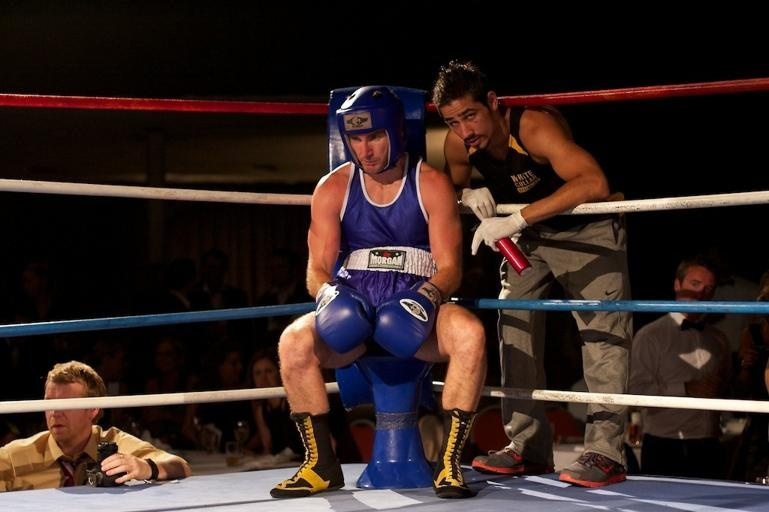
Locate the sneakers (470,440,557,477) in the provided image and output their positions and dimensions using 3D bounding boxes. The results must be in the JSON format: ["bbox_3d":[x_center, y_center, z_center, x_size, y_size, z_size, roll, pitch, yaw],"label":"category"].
[{"bbox_3d":[0.681,1.072,4.767,0.431,0.172,0.150,6,-11,-13],"label":"sneakers"}]

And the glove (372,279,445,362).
[{"bbox_3d":[0.113,0.247,4.239,0.407,0.259,0.158,-47,-2,-36],"label":"glove"}]

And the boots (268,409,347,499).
[{"bbox_3d":[-0.458,0.939,4.234,0.530,0.457,0.237,-1,-6,-10],"label":"boots"}]

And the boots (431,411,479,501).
[{"bbox_3d":[0.326,0.906,4.239,0.202,0.398,0.208,-2,-2,0],"label":"boots"}]

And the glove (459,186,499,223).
[{"bbox_3d":[0.463,-0.268,4.628,0.319,0.170,0.170,7,5,39],"label":"glove"}]

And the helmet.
[{"bbox_3d":[-0.042,-0.618,4.472,0.370,0.382,0.373,-9,12,2],"label":"helmet"}]

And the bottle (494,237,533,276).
[{"bbox_3d":[0.640,-0.010,4.505,0.168,0.177,0.086,-2,-2,13],"label":"bottle"}]

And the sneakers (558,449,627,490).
[{"bbox_3d":[1.022,1.025,4.413,0.324,0.154,0.162,0,-2,-32],"label":"sneakers"}]

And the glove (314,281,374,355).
[{"bbox_3d":[-0.185,0.284,4.149,0.277,0.303,0.149,-15,-10,-3],"label":"glove"}]

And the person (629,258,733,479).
[{"bbox_3d":[1.921,0.702,5.861,0.658,1.397,0.437,-2,-2,11],"label":"person"}]

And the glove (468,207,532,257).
[{"bbox_3d":[0.590,-0.098,4.556,0.270,0.084,0.211,-35,43,-21],"label":"glove"}]
